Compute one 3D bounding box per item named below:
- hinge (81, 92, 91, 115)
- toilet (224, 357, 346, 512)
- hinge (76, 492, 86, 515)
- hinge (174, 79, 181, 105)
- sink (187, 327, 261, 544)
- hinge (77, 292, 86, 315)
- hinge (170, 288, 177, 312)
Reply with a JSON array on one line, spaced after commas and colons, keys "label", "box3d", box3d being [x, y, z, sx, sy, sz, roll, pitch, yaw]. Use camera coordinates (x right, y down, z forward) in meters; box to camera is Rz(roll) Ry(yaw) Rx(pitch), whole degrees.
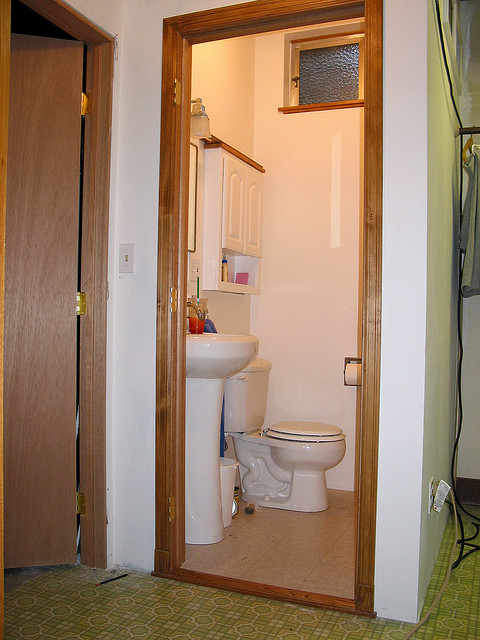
[{"label": "hinge", "box3d": [-0.558, -0.789, 2.024, 0.016, 0.066, 0.061, 1, 4, -26]}, {"label": "toilet", "box3d": [0.217, 0.563, 2.939, 0.679, 0.782, 0.408, 1, -1, 17]}, {"label": "hinge", "box3d": [-0.569, 0.664, 2.003, 0.032, 0.081, 0.026, 1, -4, -4]}, {"label": "hinge", "box3d": [-0.220, -0.810, 1.970, 0.022, 0.087, 0.008, 1, -4, -8]}, {"label": "sink", "box3d": [-0.071, 0.482, 2.270, 0.281, 0.891, 0.454, 0, -4, 0]}, {"label": "hinge", "box3d": [-0.571, -0.061, 2.010, 0.029, 0.079, 0.015, 1, -4, -15]}, {"label": "hinge", "box3d": [-0.234, -0.071, 1.963, 0.024, 0.084, 0.005, 2, -4, -21]}]
